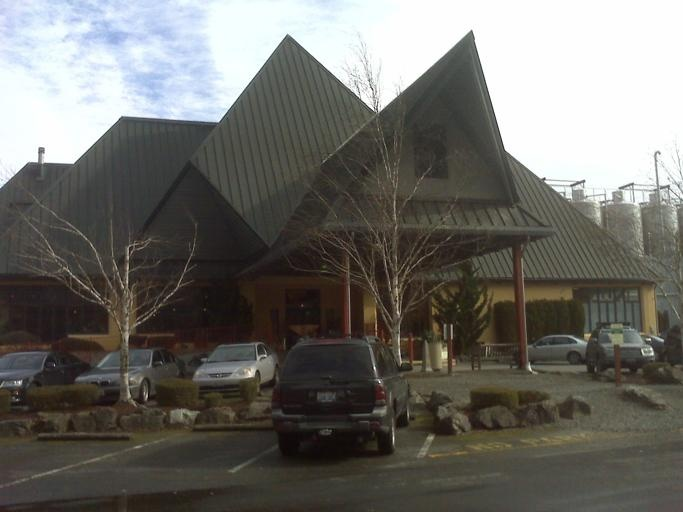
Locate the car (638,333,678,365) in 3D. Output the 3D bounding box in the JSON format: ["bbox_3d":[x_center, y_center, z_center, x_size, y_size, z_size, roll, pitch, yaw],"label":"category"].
[{"bbox_3d":[14.879,4.428,30.936,2.406,0.990,1.161,0,0,-21],"label":"car"}]

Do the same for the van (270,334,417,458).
[{"bbox_3d":[0.016,2.933,13.636,2.994,2.454,1.922,1,-10,-14],"label":"van"}]

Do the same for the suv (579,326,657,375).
[{"bbox_3d":[11.544,4.028,27.754,1.558,1.700,2.848,0,-15,1],"label":"suv"}]

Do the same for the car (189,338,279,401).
[{"bbox_3d":[-3.799,3.925,22.990,1.921,1.739,3.171,-3,-10,10],"label":"car"}]

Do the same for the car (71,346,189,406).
[{"bbox_3d":[-6.919,4.069,22.332,1.549,1.322,3.703,-2,-9,6],"label":"car"}]
